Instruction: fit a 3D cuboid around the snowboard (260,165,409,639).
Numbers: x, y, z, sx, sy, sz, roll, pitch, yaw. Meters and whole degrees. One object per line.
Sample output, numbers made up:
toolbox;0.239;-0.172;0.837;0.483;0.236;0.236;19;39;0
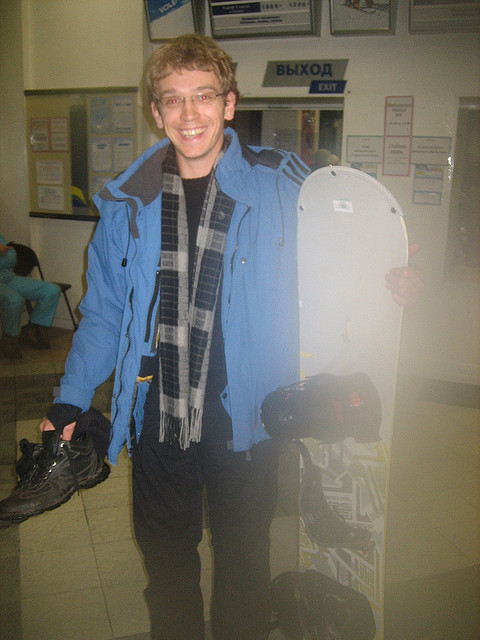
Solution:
snowboard;0.291;0.259;1.387;0.364;1.333;0.445;3;9;5

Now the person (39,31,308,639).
person;-0.139;0.036;1.246;0.537;1.338;0.358;5;9;17

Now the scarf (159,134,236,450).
scarf;-0.106;-0.074;1.191;0.187;0.737;0.083;0;-4;9
